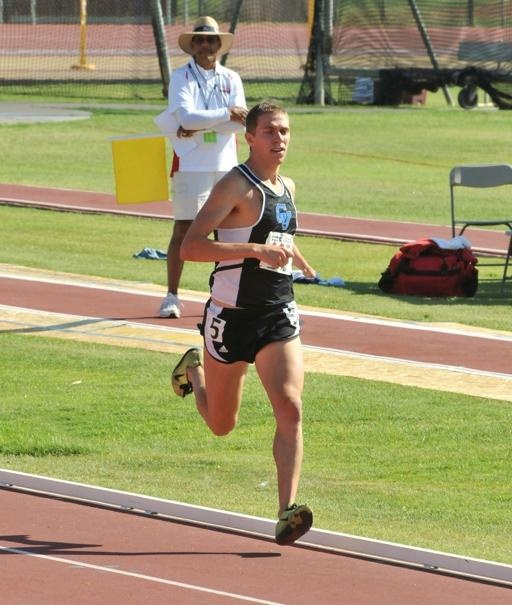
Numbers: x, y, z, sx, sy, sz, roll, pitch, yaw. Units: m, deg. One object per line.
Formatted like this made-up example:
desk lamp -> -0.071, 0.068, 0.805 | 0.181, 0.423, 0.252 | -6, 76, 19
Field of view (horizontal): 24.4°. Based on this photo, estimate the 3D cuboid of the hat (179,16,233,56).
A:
hat -> -0.316, -1.694, 7.468 | 0.300, 0.130, 0.331 | 1, -14, -4

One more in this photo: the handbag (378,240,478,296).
handbag -> 1.435, -0.243, 9.467 | 0.604, 0.260, 0.551 | 0, -2, 3

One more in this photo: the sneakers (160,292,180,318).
sneakers -> -0.596, 0.033, 8.254 | 0.175, 0.167, 0.433 | 0, -4, -4

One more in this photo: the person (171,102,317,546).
person -> -0.040, 0.043, 4.609 | 0.496, 1.598, 1.275 | 0, 8, -4

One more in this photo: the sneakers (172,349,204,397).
sneakers -> -0.308, 0.319, 5.304 | 0.104, 0.105, 0.257 | 3, -37, -17
